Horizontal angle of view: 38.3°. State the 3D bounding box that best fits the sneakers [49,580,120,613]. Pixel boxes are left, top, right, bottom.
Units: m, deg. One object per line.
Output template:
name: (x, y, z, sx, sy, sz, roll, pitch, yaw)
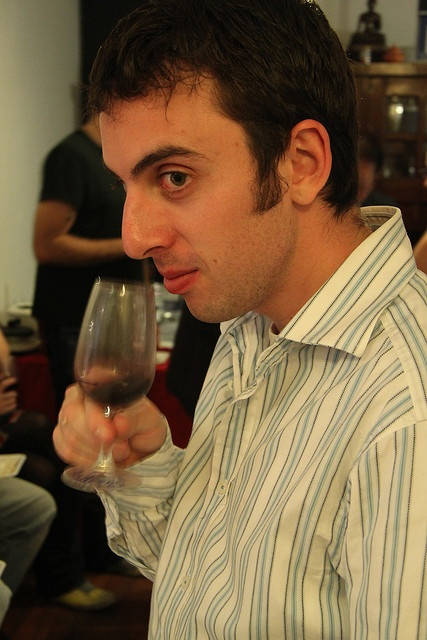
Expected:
sneakers: (-0.476, 1.022, 2.291, 0.238, 0.090, 0.084, 0, 2, 3)
